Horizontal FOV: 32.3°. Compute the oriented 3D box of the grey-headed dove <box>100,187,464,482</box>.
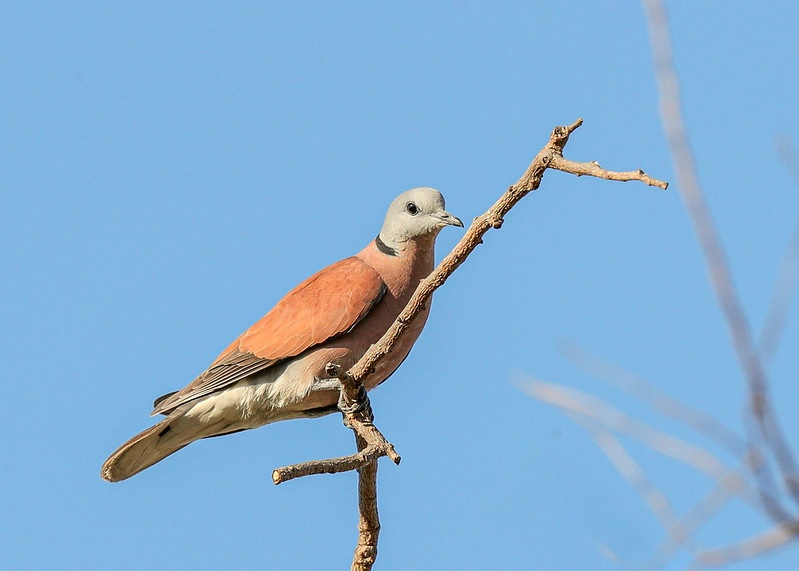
[{"bbox_3d":[-0.724,0.270,8.739,2.212,1.655,0.784,-9,-31,10],"label":"grey-headed dove"}]
